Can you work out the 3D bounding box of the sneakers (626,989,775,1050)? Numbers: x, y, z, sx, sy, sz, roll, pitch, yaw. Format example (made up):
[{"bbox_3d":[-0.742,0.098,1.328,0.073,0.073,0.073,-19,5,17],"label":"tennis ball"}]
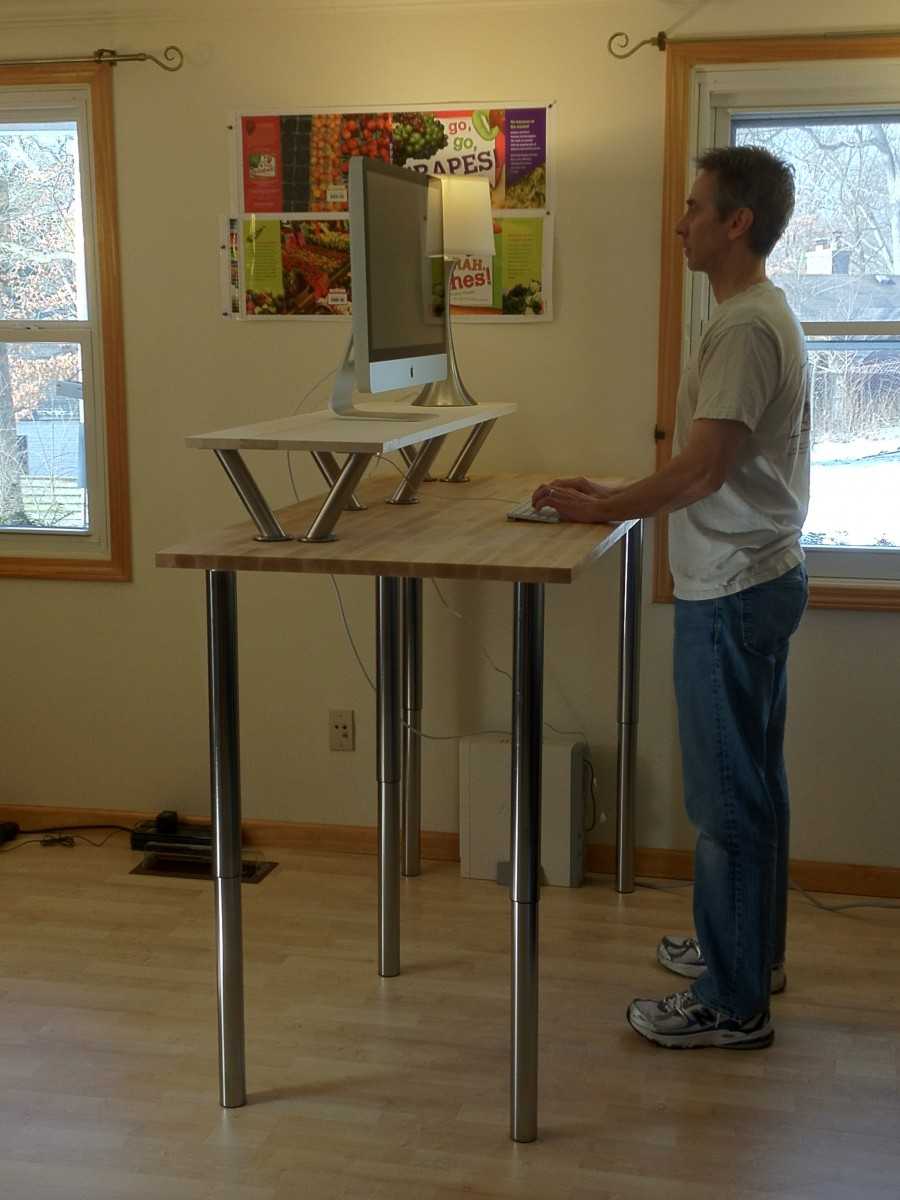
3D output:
[{"bbox_3d":[0.431,0.750,2.107,0.262,0.112,0.097,6,-11,3],"label":"sneakers"}]

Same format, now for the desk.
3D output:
[{"bbox_3d":[-0.233,0.315,2.216,0.613,0.999,1.105,5,-5,-13],"label":"desk"}]

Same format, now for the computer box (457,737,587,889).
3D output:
[{"bbox_3d":[0.193,0.524,2.972,0.326,0.344,0.210,2,1,15],"label":"computer box"}]

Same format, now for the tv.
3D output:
[{"bbox_3d":[-0.155,-0.569,2.175,0.164,0.434,0.549,0,13,12],"label":"tv"}]
